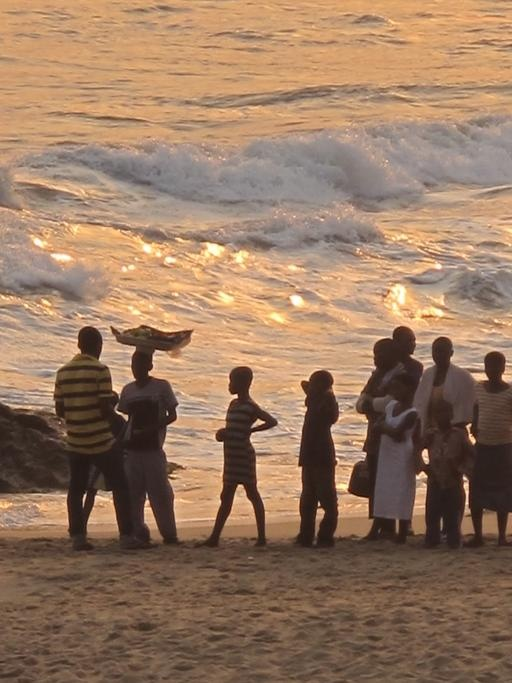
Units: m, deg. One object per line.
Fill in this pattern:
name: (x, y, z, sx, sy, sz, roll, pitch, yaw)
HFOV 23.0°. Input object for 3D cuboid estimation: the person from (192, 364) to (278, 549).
person: (-0.089, 0.702, 7.598, 0.497, 1.081, 0.320, 0, 0, 12)

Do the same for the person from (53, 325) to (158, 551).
person: (-0.911, 0.654, 7.351, 0.511, 1.129, 0.271, 0, 0, -7)

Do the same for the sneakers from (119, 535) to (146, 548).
sneakers: (-0.726, 1.179, 7.450, 0.179, 0.063, 0.064, 0, 15, -11)

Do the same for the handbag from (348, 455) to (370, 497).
handbag: (0.641, 0.844, 7.769, 0.130, 0.249, 0.228, 0, 0, 4)

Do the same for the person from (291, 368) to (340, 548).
person: (0.376, 0.715, 7.653, 0.243, 1.059, 0.296, 0, 0, 1)

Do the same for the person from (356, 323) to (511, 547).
person: (0.966, 0.565, 7.740, 0.687, 1.297, 0.563, 0, 0, 3)
